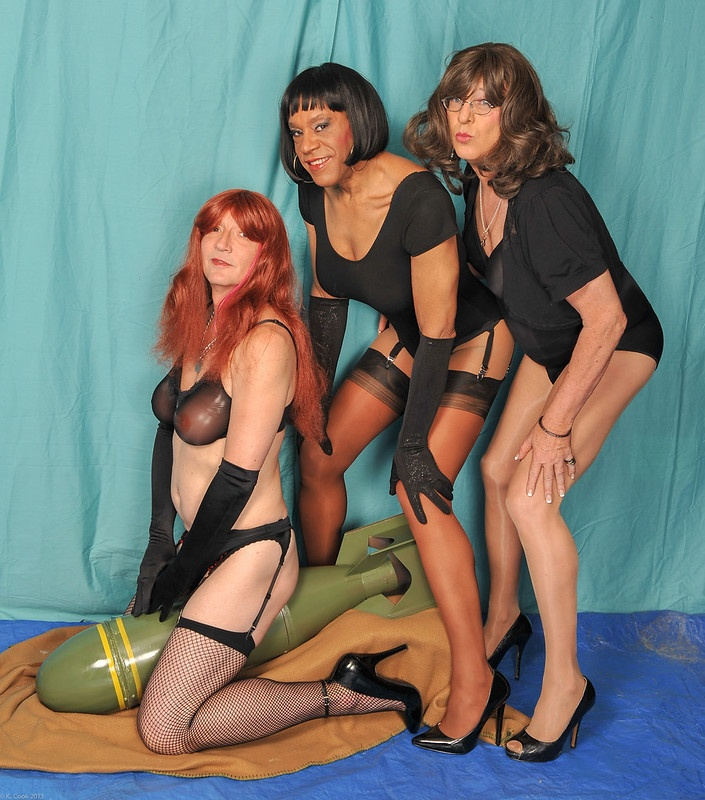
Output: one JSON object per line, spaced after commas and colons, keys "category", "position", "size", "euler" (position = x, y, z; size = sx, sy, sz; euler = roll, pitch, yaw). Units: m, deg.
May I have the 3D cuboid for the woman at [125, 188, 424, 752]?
{"category": "woman", "position": [-0.235, 0.170, 1.866], "size": [0.737, 1.386, 0.656], "euler": [8, 10, 31]}

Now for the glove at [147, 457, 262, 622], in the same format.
{"category": "glove", "position": [-0.339, 0.347, 1.764], "size": [0.164, 0.570, 0.112], "euler": [27, 28, -25]}

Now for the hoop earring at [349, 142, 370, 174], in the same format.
{"category": "hoop earring", "position": [0.010, -0.606, 1.858], "size": [0.023, 0.061, 0.063], "euler": [15, 14, 25]}

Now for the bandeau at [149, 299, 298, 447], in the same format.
{"category": "bandeau", "position": [-0.340, -0.021, 1.839], "size": [0.270, 0.133, 0.340], "euler": [16, 33, 21]}

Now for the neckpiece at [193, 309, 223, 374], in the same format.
{"category": "neckpiece", "position": [-0.364, -0.152, 1.807], "size": [0.055, 0.188, 0.010], "euler": [-2, -40, 29]}

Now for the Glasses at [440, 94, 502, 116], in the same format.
{"category": "Glasses", "position": [0.273, -0.701, 1.747], "size": [0.141, 0.042, 0.027], "euler": [14, 14, 30]}
